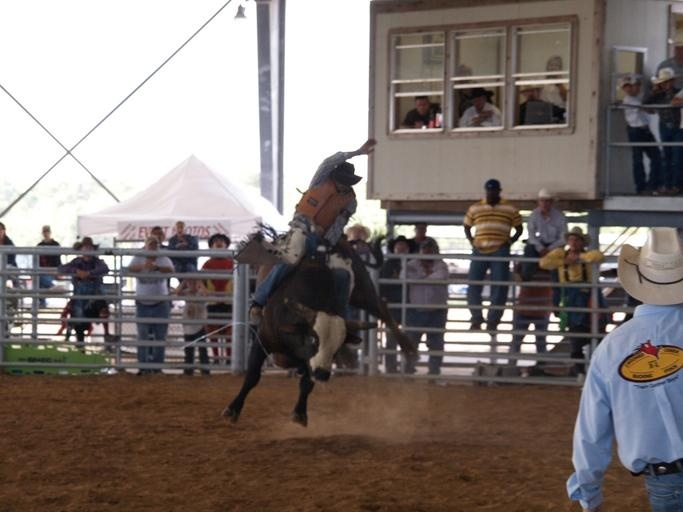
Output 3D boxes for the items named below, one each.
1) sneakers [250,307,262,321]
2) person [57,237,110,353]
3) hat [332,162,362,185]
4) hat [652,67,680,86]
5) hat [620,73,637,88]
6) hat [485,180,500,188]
[{"bbox_3d":[-1.057,0.741,16.038,0.162,0.165,0.186,9,-25,-14],"label":"sneakers"},{"bbox_3d":[-4.050,0.621,20.266,0.783,1.831,1.286,-2,13,-12],"label":"person"},{"bbox_3d":[0.127,-0.998,15.953,0.434,0.326,0.282,13,17,42],"label":"hat"},{"bbox_3d":[5.096,-2.822,20.161,0.288,0.123,0.334,-26,-5,25],"label":"hat"},{"bbox_3d":[4.595,-2.809,20.454,0.270,0.178,0.211,-5,-9,20],"label":"hat"},{"bbox_3d":[2.339,-1.115,19.803,0.217,0.138,0.301,3,12,6],"label":"hat"}]
